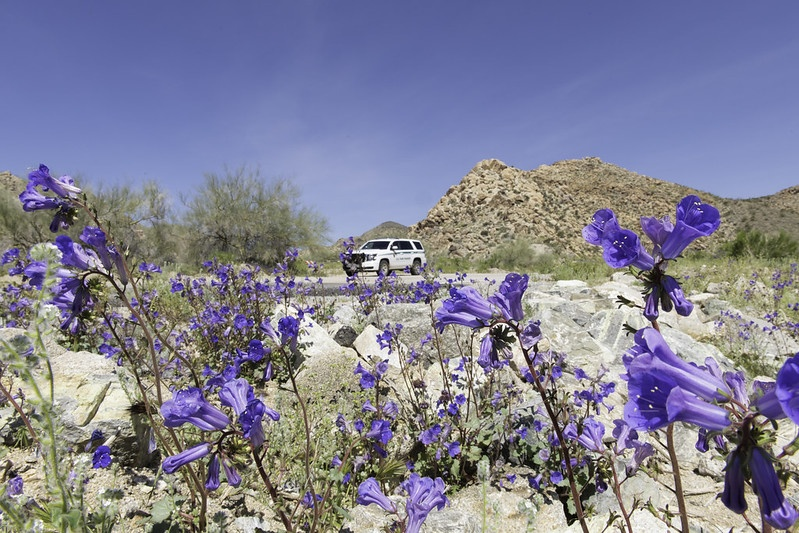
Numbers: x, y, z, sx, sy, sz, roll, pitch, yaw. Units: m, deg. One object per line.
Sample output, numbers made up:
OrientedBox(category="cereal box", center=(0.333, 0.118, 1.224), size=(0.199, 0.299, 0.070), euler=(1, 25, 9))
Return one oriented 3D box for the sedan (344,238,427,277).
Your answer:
OrientedBox(category="sedan", center=(-0.357, -0.387, 22.724), size=(1.585, 1.294, 3.319), euler=(-4, -5, 34))
